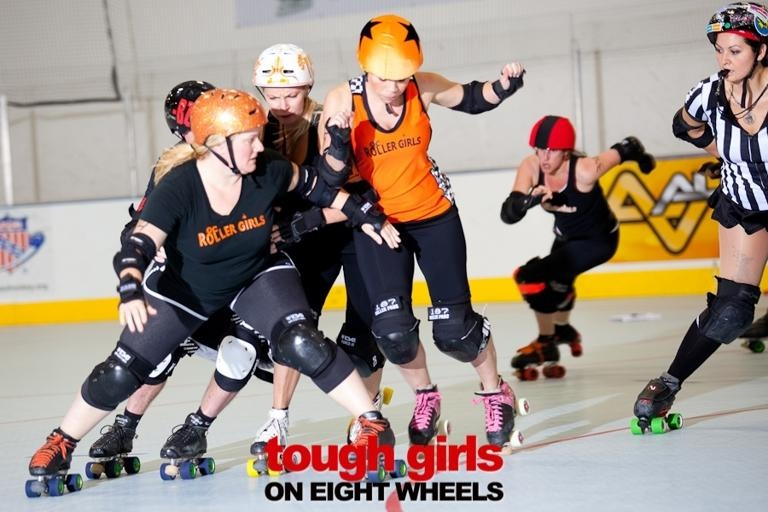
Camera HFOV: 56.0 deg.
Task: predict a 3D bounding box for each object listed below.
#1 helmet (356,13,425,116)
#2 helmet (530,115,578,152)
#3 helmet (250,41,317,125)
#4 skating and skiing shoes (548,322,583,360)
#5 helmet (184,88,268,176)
[{"bbox_3d":[0.050,-1.380,4.741,0.464,0.443,0.549,-4,44,-5],"label":"helmet"},{"bbox_3d":[1.472,-1.066,6.237,0.385,0.283,0.367,-6,18,-24],"label":"helmet"},{"bbox_3d":[-0.690,-1.217,5.097,0.409,0.556,0.521,-1,10,-11],"label":"helmet"},{"bbox_3d":[1.830,0.782,7.030,0.439,0.168,0.174,23,-24,32],"label":"skating and skiing shoes"},{"bbox_3d":[-0.945,-0.794,4.497,0.499,0.553,0.424,2,22,10],"label":"helmet"}]
